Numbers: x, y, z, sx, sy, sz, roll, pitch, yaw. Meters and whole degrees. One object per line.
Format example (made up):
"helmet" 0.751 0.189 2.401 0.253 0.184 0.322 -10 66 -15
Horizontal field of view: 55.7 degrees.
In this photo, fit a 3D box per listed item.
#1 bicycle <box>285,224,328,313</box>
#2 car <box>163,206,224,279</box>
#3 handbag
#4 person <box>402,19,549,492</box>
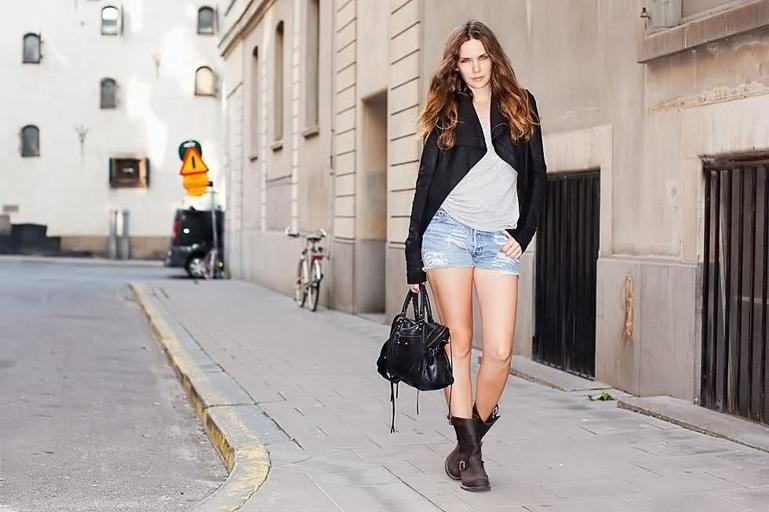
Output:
"bicycle" -1.323 0.244 13.778 0.563 1.480 1.574 1 2 -12
"car" -6.143 -0.454 23.874 2.702 2.645 1.950 -2 3 -7
"handbag" 0.192 0.522 4.823 0.298 0.680 0.568 6 0 -39
"person" 0.592 0.000 4.742 0.897 3.046 0.252 1 1 6
